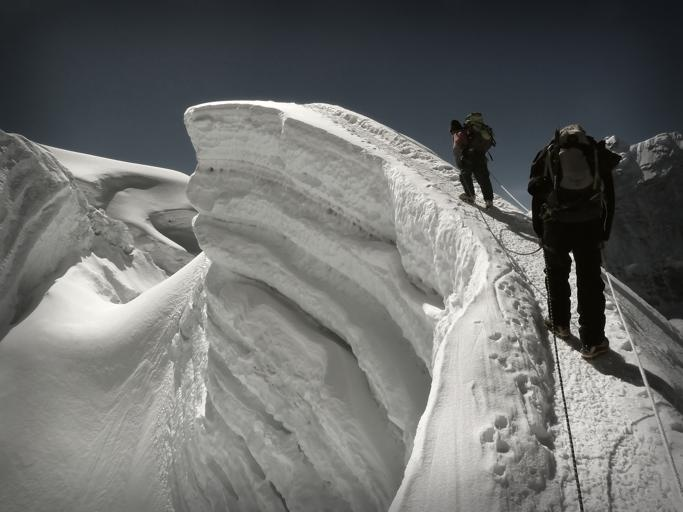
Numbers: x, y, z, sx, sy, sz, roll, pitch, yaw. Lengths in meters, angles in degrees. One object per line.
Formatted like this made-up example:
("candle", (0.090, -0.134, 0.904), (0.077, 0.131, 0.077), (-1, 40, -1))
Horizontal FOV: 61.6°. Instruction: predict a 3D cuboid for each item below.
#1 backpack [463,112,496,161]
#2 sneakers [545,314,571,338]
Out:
("backpack", (2.093, -1.769, 8.223), (0.482, 0.336, 0.496), (59, -9, -34))
("sneakers", (2.334, 0.782, 6.257), (0.123, 0.333, 0.138), (-22, -5, 8))
